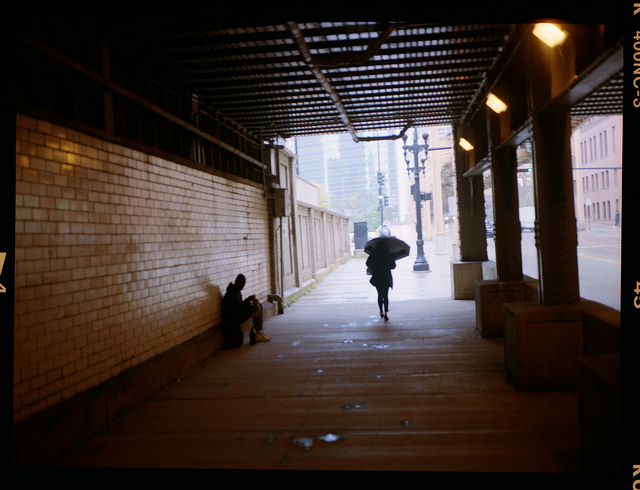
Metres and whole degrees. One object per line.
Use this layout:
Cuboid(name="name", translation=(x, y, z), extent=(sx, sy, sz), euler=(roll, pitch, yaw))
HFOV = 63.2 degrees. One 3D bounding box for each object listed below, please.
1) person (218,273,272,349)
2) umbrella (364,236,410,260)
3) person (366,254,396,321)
Cuboid(name="person", translation=(-1.455, 1.206, 9.718), extent=(1.077, 1.285, 0.810), euler=(-1, 2, -24))
Cuboid(name="umbrella", translation=(1.426, 0.079, 11.174), extent=(0.923, 0.481, 0.430), euler=(0, 1, 6))
Cuboid(name="person", translation=(1.316, 0.904, 11.399), extent=(0.597, 1.377, 0.805), euler=(0, 1, 8))
